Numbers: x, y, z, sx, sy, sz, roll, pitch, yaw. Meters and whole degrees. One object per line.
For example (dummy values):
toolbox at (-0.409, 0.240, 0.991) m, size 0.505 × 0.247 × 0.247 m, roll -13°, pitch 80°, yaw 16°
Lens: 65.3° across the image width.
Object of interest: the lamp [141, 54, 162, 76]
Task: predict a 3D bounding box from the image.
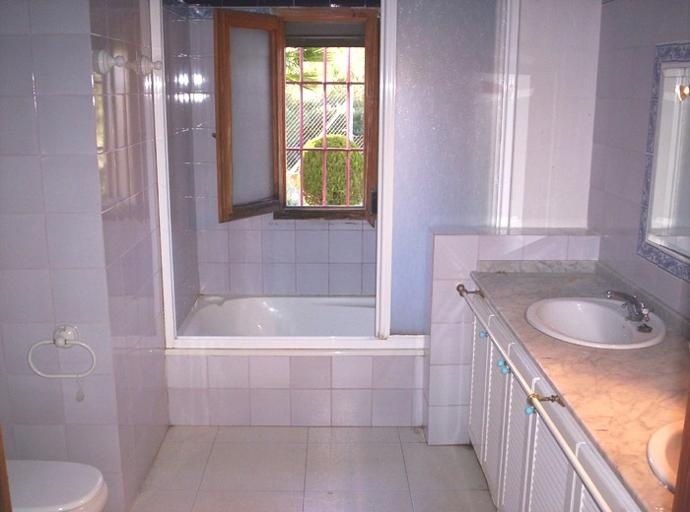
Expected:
lamp at (-0.979, -0.982, 2.759) m, size 0.093 × 0.102 × 0.345 m, roll -5°, pitch 16°, yaw -15°

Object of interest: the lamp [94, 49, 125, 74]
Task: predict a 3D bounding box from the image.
lamp at (-0.977, -0.816, 2.260) m, size 0.074 × 0.104 × 0.184 m, roll -2°, pitch 15°, yaw -4°
